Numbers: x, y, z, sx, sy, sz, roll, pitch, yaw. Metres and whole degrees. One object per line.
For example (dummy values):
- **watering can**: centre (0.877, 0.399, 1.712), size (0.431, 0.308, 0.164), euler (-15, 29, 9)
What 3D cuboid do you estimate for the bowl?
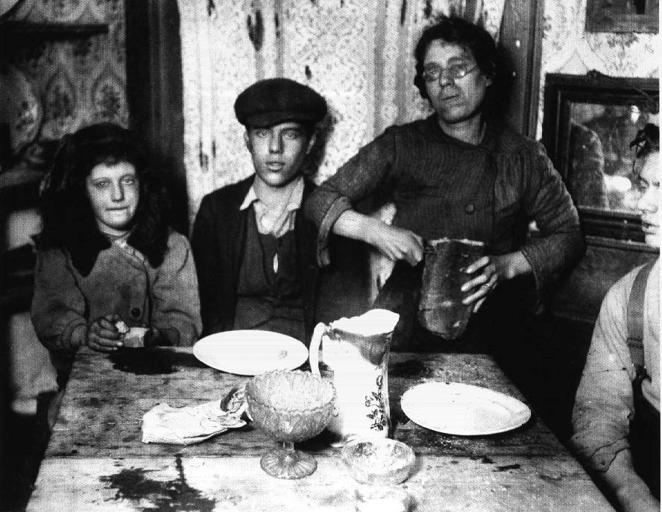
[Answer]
- **bowl**: centre (0.118, 0.514, 1.792), size (0.171, 0.077, 0.103), euler (5, 12, 0)

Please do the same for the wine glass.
- **wine glass**: centre (-0.102, 0.452, 1.868), size (0.214, 0.216, 0.217), euler (-6, 14, -40)

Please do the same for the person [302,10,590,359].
- **person**: centre (0.414, -0.310, 2.593), size (0.888, 1.880, 0.677), euler (1, 6, 8)

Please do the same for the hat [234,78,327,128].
- **hat**: centre (-0.203, -0.548, 2.675), size (0.362, 0.159, 0.395), euler (-11, 11, -40)
